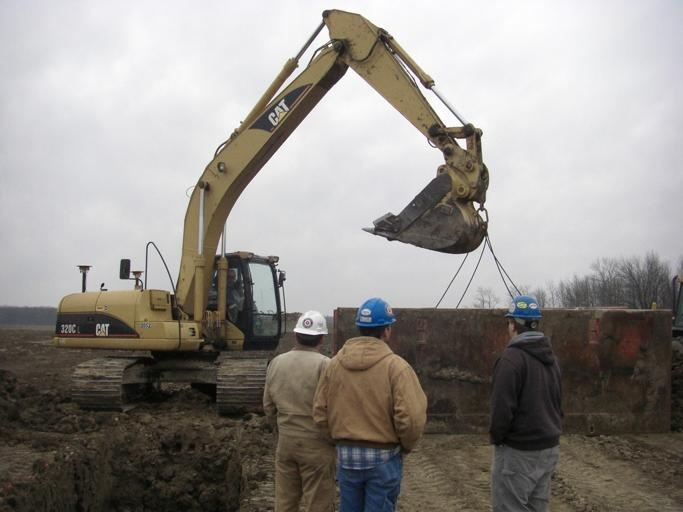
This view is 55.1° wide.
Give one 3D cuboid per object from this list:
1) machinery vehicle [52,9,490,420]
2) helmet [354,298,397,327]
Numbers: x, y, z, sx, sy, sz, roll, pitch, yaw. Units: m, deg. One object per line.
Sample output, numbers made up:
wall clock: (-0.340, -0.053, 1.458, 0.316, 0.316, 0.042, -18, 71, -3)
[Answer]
machinery vehicle: (-1.215, -0.708, 11.599, 7.042, 6.973, 3.238, -2, -7, 14)
helmet: (0.348, 0.584, 6.683, 0.378, 0.316, 0.505, 0, 5, 32)
